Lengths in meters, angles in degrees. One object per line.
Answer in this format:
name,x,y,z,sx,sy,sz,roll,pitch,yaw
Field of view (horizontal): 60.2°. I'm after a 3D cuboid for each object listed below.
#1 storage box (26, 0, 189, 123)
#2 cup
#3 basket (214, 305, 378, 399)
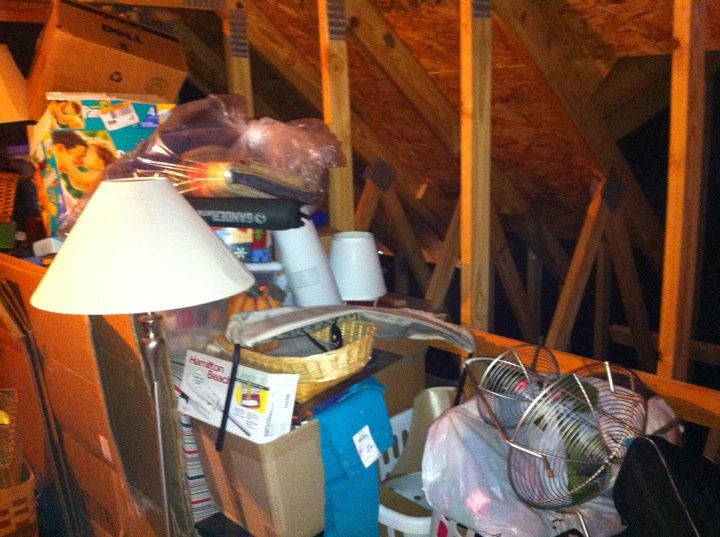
storage box,-0.909,-0.758,2.209,0.557,0.396,0.351,-10,16,-17
cup,-0.020,0.009,2.158,0.218,0.221,0.213,-6,-7,-1
basket,-0.143,0.206,1.714,0.356,0.155,0.280,14,18,37
